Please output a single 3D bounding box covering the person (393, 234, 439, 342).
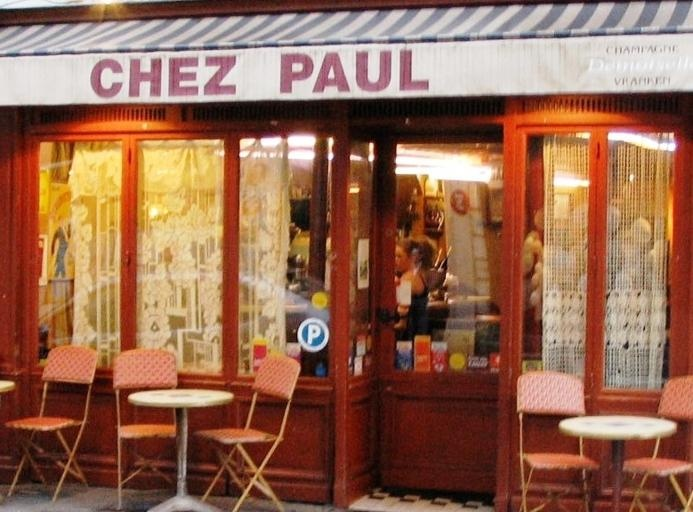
[{"bbox_3d":[0.721,0.337,8.933,0.408,1.052,0.114,1,1,-8],"label":"person"}]

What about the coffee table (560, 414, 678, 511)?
[{"bbox_3d":[2.315,1.520,7.251,0.802,1.062,0.814,1,-5,-35],"label":"coffee table"}]

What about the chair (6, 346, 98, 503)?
[{"bbox_3d":[-2.982,1.640,8.628,0.850,1.436,0.631,1,1,6],"label":"chair"}]
